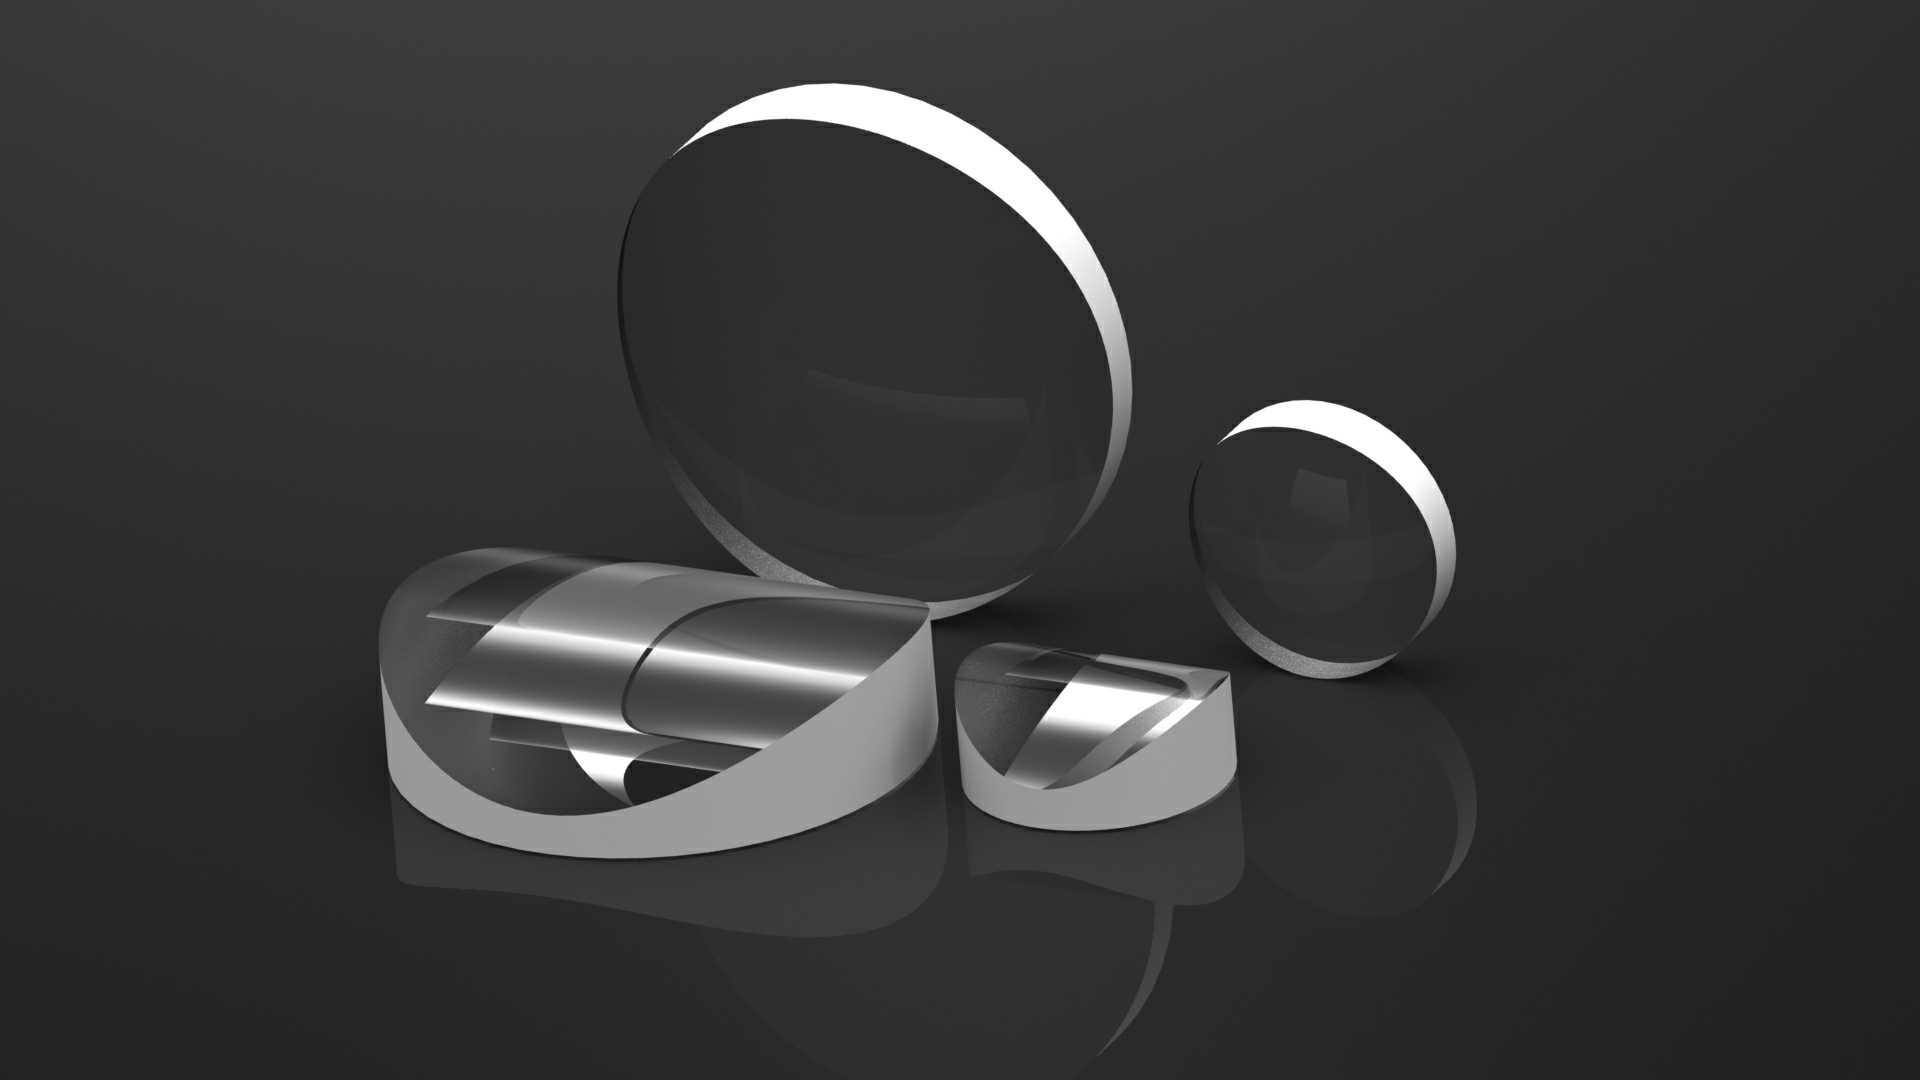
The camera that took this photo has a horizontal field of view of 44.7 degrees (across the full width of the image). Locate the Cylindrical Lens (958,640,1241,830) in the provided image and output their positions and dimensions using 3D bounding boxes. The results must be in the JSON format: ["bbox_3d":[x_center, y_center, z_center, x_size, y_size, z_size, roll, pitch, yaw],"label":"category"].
[{"bbox_3d":[0.340,0.521,5.912,0.727,0.207,0.485,9,74,-1],"label":"Cylindrical Lens"}]
